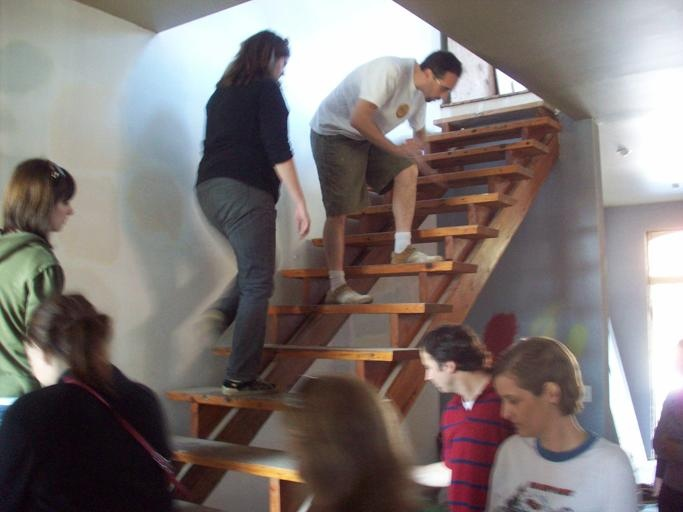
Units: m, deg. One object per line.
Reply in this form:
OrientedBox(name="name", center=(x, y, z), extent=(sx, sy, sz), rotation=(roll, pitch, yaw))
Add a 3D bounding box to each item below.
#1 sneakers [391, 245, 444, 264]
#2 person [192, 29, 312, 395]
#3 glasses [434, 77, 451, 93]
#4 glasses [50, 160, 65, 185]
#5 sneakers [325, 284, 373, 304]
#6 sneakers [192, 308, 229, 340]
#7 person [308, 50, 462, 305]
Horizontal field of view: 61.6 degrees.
OrientedBox(name="sneakers", center=(0.359, -0.001, 2.824), extent=(0.260, 0.103, 0.093), rotation=(-4, -4, 25))
OrientedBox(name="person", center=(-0.384, -0.212, 2.460), extent=(0.366, 1.496, 0.466), rotation=(-2, 7, -34))
OrientedBox(name="glasses", center=(0.517, -0.876, 2.943), extent=(0.018, 0.060, 0.060), rotation=(-27, -14, 30))
OrientedBox(name="glasses", center=(-0.999, -0.290, 1.983), extent=(0.029, 0.080, 0.060), rotation=(-13, -5, 9))
OrientedBox(name="sneakers", center=(0.042, 0.188, 2.890), extent=(0.092, 0.080, 0.243), rotation=(-2, -5, -41))
OrientedBox(name="sneakers", center=(-0.648, 0.337, 2.839), extent=(0.146, 0.152, 0.153), rotation=(-27, -11, -21))
OrientedBox(name="person", center=(0.208, -0.407, 2.962), extent=(0.747, 1.295, 0.615), rotation=(2, 6, -4))
